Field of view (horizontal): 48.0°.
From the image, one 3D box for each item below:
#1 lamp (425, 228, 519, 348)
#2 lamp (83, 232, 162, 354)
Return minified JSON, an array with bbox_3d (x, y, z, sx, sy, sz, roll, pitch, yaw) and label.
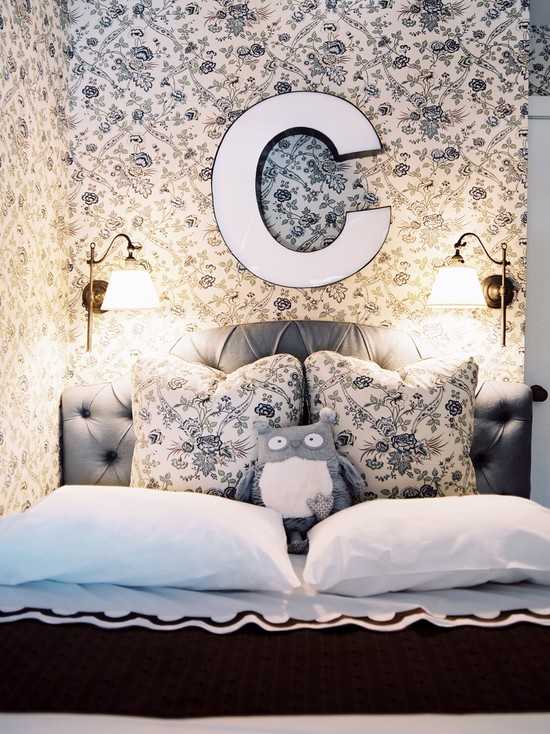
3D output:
[{"bbox_3d":[0.623,-0.246,1.997,0.293,0.336,0.206,1,7,-6],"label":"lamp"},{"bbox_3d":[-0.501,-0.225,2.018,0.318,0.375,0.212,7,13,28],"label":"lamp"}]
